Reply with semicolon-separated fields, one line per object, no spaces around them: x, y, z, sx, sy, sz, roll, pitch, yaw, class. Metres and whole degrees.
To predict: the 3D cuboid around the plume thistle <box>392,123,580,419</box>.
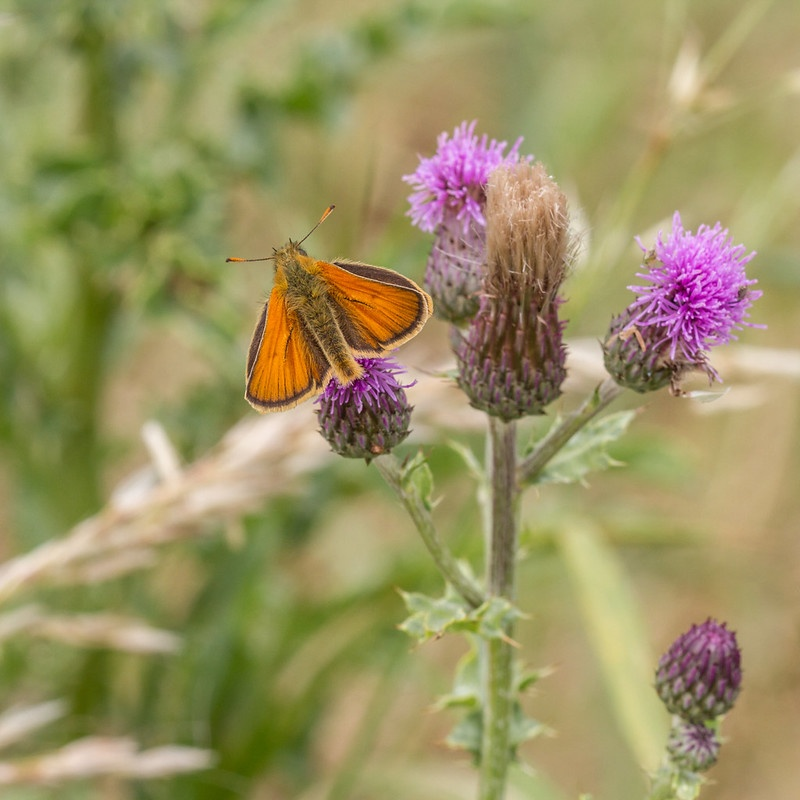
0.322;-0.465;3.986;0.595;0.452;1.093;3;-73;13;plume thistle

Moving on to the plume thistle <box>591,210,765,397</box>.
1.008;-0.380;3.929;0.430;0.462;0.434;22;-96;-10;plume thistle

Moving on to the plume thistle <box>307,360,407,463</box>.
-0.114;-0.013;4.021;0.327;0.322;0.429;-2;-73;-38;plume thistle
